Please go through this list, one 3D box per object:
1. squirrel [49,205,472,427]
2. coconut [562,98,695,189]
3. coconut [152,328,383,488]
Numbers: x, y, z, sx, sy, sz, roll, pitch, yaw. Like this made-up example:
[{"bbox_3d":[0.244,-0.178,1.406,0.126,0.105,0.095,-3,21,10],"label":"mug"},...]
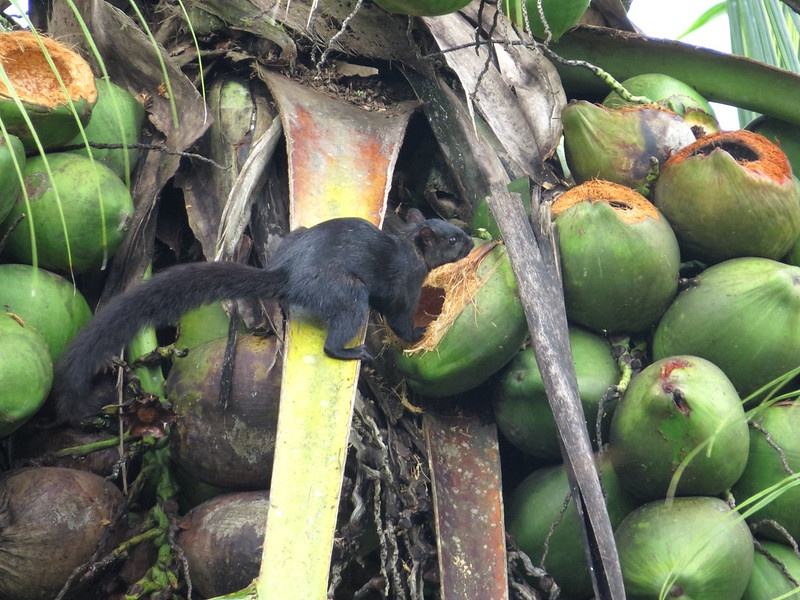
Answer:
[{"bbox_3d":[-0.473,0.119,4.854,1.943,0.725,0.656,-16,47,-15],"label":"squirrel"},{"bbox_3d":[0.923,-0.678,4.933,0.418,0.449,0.355,4,14,26],"label":"coconut"},{"bbox_3d":[-0.715,0.438,4.765,0.480,0.536,0.399,14,27,-11],"label":"coconut"}]
